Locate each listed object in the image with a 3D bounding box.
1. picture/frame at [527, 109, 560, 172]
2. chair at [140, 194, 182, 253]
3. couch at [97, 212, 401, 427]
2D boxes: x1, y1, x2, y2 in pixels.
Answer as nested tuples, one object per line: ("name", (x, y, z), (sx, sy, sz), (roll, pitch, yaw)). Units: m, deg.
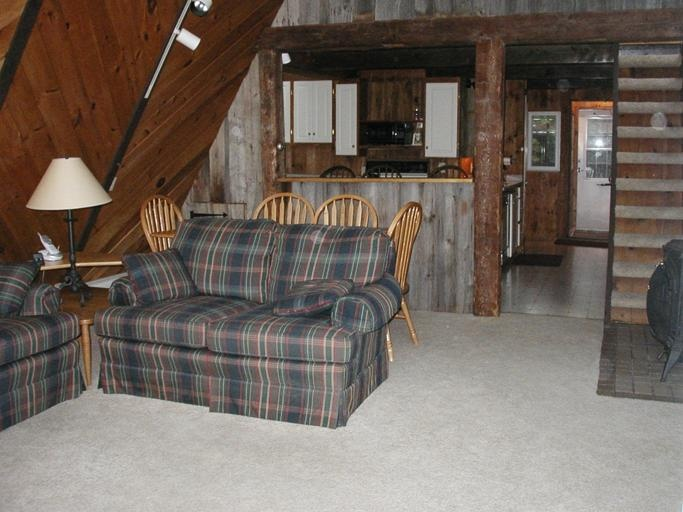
("picture/frame", (3.644, -2.052, 10.903), (0.604, 1.123, 0.086), (2, -7, 8))
("chair", (-1.634, -0.224, 5.609), (0.355, 0.617, 0.430), (-6, -1, 2))
("couch", (-0.646, 0.381, 4.265), (1.876, 1.116, 1.217), (3, 9, 13))
